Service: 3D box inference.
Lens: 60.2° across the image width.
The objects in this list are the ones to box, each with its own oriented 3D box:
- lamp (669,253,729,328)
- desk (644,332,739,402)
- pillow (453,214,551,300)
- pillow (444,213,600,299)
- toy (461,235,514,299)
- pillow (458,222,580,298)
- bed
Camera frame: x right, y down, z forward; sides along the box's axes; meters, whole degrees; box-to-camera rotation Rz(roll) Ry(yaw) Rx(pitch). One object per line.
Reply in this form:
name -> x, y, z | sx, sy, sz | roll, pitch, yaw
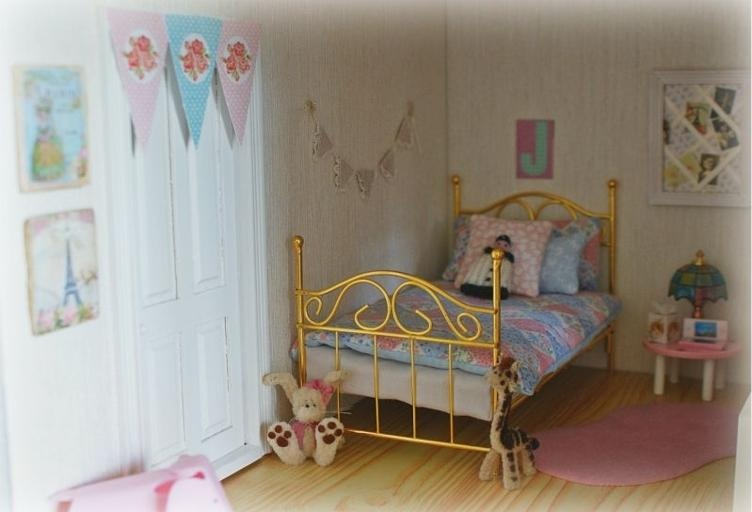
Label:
lamp -> 2.227, 0.247, 4.519 | 0.444, 0.607, 0.447 | 0, 2, 8
desk -> 2.215, 0.777, 4.586 | 0.586, 0.368, 0.478 | 5, 12, 30
pillow -> 0.969, 0.012, 4.694 | 0.628, 0.589, 0.173 | 9, -6, 36
pillow -> 1.278, 0.006, 5.042 | 0.885, 0.649, 0.273 | 2, -10, 14
toy -> 0.797, 0.052, 4.530 | 0.304, 0.437, 0.174 | 12, -35, 21
pillow -> 1.131, 0.011, 4.660 | 0.773, 0.586, 0.211 | 3, -13, 15
bed -> 0.672, 0.270, 4.419 | 1.642, 1.530, 2.124 | 4, 11, 26
